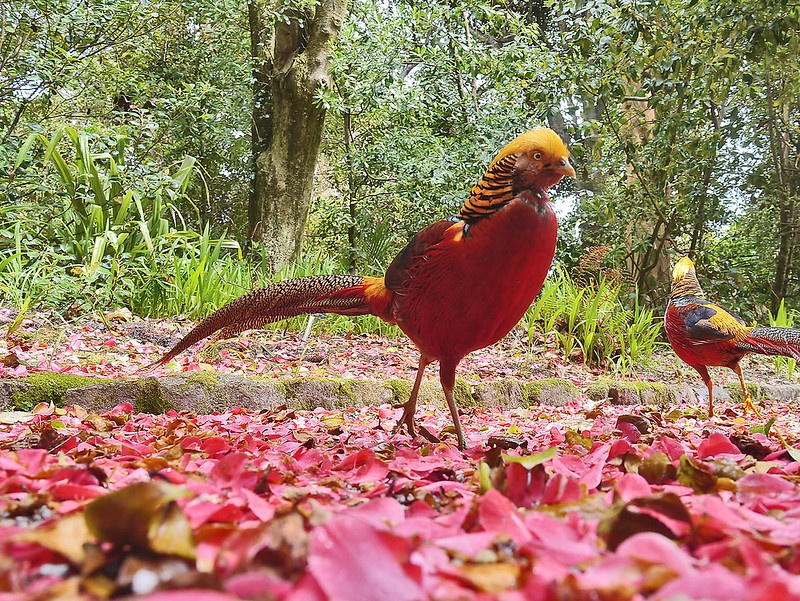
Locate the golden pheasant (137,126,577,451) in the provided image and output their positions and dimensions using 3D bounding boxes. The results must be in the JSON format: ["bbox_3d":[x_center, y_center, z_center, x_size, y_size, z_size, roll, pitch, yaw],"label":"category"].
[{"bbox_3d":[-0.032,-0.082,2.417,1.891,1.220,0.574,-1,-1,23],"label":"golden pheasant"}]
